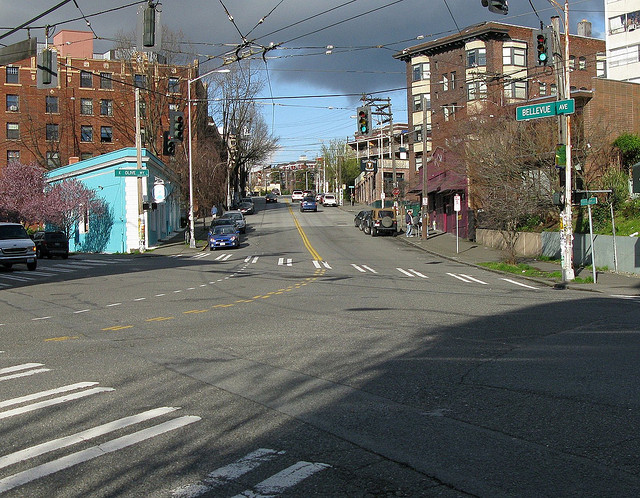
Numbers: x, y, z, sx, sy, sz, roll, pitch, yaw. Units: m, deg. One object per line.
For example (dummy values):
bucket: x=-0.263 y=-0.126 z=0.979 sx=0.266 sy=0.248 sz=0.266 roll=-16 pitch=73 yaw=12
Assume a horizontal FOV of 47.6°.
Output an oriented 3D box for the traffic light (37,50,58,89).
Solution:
traffic light: x=-8.048 y=-5.353 z=21.245 sx=0.741 sy=1.102 sz=0.767 roll=6 pitch=14 yaw=1

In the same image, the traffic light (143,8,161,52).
traffic light: x=-4.245 y=-5.553 z=18.277 sx=0.415 sy=1.083 sz=0.358 roll=-3 pitch=5 yaw=-16

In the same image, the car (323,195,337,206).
car: x=1.223 y=-6.184 z=90.734 sx=1.461 sy=1.210 sz=3.595 roll=-1 pitch=1 yaw=-2

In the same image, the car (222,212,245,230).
car: x=-6.090 y=-2.019 z=51.128 sx=1.513 sy=1.171 sz=3.099 roll=-1 pitch=0 yaw=-5

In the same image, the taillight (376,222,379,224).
taillight: x=4.138 y=-1.930 z=52.182 sx=0.195 sy=0.137 sz=0.018 roll=1 pitch=5 yaw=28

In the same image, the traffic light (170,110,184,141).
traffic light: x=-6.467 y=-5.637 z=32.766 sx=0.538 sy=1.333 sz=0.988 roll=-3 pitch=5 yaw=-13

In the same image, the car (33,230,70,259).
car: x=-15.502 y=-0.295 z=42.244 sx=1.444 sy=1.330 sz=3.132 roll=-1 pitch=5 yaw=-26

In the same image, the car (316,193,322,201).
car: x=-0.180 y=-8.583 z=117.170 sx=1.293 sy=1.162 sz=2.191 roll=-1 pitch=-2 yaw=-6

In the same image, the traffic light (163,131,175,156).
traffic light: x=-7.103 y=-5.042 z=34.219 sx=0.439 sy=1.042 sz=1.038 roll=-3 pitch=5 yaw=-14

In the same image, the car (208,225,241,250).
car: x=-5.728 y=-0.693 z=43.313 sx=1.405 sy=1.099 sz=2.504 roll=-1 pitch=-2 yaw=-5

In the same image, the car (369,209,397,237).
car: x=4.538 y=-2.176 z=52.905 sx=1.271 sy=1.445 sz=2.325 roll=0 pitch=7 yaw=-3
